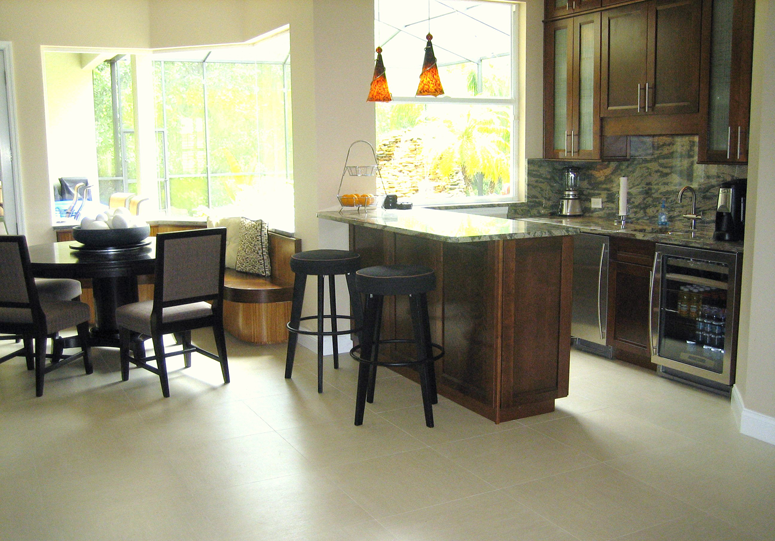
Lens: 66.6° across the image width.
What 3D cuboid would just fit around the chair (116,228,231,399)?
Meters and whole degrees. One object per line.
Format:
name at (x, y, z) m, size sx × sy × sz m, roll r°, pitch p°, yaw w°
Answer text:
chair at (-1.621, 0.298, 4.453) m, size 0.845 × 1.211 × 0.521 m, roll -4°, pitch 14°, yaw -14°

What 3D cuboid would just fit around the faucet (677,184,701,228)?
faucet at (2.485, -0.514, 4.828) m, size 0.175 × 0.368 × 0.624 m, roll 6°, pitch 15°, yaw 27°

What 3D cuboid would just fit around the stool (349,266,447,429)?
stool at (0.075, 0.436, 4.174) m, size 0.662 × 1.015 × 0.976 m, roll -1°, pitch 14°, yaw -3°

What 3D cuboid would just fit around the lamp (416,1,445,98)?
lamp at (0.316, -1.547, 4.405) m, size 0.187 × 0.481 × 0.510 m, roll 0°, pitch 14°, yaw 5°

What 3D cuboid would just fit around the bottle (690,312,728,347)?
bottle at (2.334, 0.422, 4.256) m, size 0.120 × 0.218 × 0.228 m, roll -4°, pitch 12°, yaw -20°

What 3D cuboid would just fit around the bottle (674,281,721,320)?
bottle at (2.283, 0.240, 4.298) m, size 0.023 × 0.281 × 0.371 m, roll -7°, pitch 15°, yaw -25°

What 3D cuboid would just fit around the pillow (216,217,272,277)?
pillow at (-1.369, -0.211, 5.683) m, size 0.557 × 0.549 × 0.200 m, roll 7°, pitch 11°, yaw 35°

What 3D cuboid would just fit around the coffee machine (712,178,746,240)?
coffee machine at (2.515, -0.441, 4.304) m, size 0.183 × 0.422 × 0.312 m, roll 7°, pitch 16°, yaw 29°

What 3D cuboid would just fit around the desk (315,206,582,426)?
desk at (0.668, 0.358, 4.791) m, size 0.923 × 1.297 × 2.007 m, roll 11°, pitch -1°, yaw -24°

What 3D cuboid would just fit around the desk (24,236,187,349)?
desk at (-2.325, 0.214, 5.047) m, size 1.108 × 0.798 × 1.088 m, roll 3°, pitch 16°, yaw 0°

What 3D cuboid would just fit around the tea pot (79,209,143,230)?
tea pot at (-2.432, -0.449, 5.227) m, size 0.351 × 0.146 × 0.354 m, roll 0°, pitch 10°, yaw 0°
